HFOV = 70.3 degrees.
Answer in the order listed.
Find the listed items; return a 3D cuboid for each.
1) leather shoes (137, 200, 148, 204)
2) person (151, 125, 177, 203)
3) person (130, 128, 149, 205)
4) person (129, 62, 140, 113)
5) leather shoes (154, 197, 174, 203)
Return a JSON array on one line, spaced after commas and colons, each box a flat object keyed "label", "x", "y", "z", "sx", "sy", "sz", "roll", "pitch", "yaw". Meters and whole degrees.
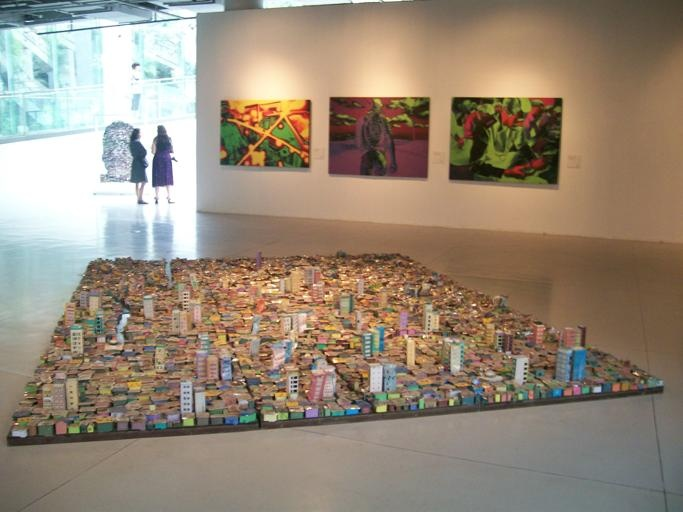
[{"label": "leather shoes", "x": -5.096, "y": -1.374, "z": 12.451, "sx": 0.282, "sy": 0.093, "sz": 0.087, "roll": -1, "pitch": 14, "yaw": -4}, {"label": "person", "x": -4.741, "y": -2.412, "z": 12.951, "sx": 0.526, "sy": 2.021, "sz": 1.372, "roll": 0, "pitch": 8, "yaw": -19}, {"label": "person", "x": -5.233, "y": -2.338, "z": 12.588, "sx": 0.412, "sy": 1.974, "sz": 0.968, "roll": -1, "pitch": 8, "yaw": -22}, {"label": "person", "x": -7.118, "y": -5.811, "z": 16.862, "sx": 0.347, "sy": 1.487, "sz": 0.365, "roll": -1, "pitch": 8, "yaw": -26}, {"label": "leather shoes", "x": -4.619, "y": -1.426, "z": 12.820, "sx": 0.218, "sy": 0.148, "sz": 0.547, "roll": -8, "pitch": -10, "yaw": 37}]
